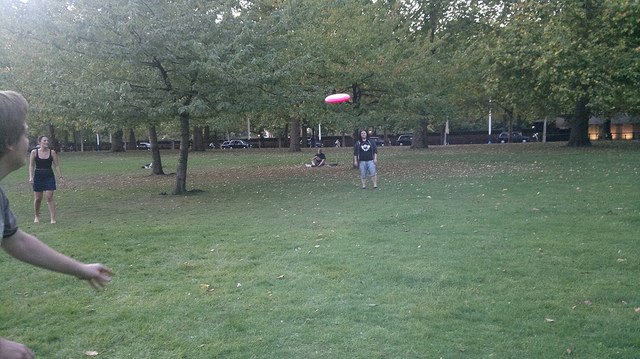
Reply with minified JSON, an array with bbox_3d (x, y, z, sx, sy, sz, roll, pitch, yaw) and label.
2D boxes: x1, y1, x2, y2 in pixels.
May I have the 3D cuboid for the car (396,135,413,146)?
[{"bbox_3d":[12.296,-5.830,76.214,1.852,1.442,2.231,-1,5,-2],"label":"car"}]

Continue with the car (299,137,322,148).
[{"bbox_3d":[-1.461,-5.433,76.028,3.127,2.083,4.817,0,-1,-2],"label":"car"}]

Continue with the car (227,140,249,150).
[{"bbox_3d":[-12.529,-5.287,78.209,2.435,0.966,1.328,-3,4,-1],"label":"car"}]

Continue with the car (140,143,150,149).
[{"bbox_3d":[-28.288,-5.503,83.941,1.925,0.902,1.127,-3,0,27],"label":"car"}]

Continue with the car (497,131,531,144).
[{"bbox_3d":[24.864,-5.620,67.667,3.359,1.375,5.816,3,6,36],"label":"car"}]

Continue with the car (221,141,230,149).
[{"bbox_3d":[-14.104,-5.279,77.713,1.112,0.910,2.644,-2,5,-8],"label":"car"}]
